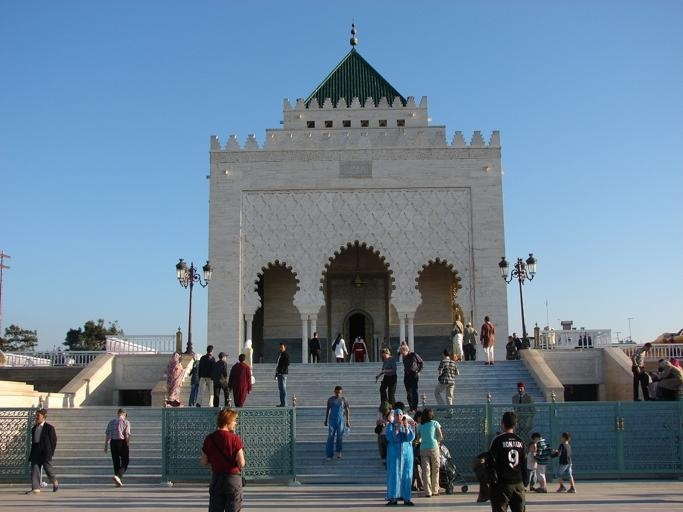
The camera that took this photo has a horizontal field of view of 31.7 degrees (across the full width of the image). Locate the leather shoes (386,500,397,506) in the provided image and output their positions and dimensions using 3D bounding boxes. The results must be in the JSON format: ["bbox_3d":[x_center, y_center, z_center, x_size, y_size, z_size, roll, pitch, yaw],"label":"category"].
[{"bbox_3d":[0.925,4.565,22.193,0.209,0.092,0.074,3,-7,-6],"label":"leather shoes"}]

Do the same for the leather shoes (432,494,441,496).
[{"bbox_3d":[1.835,4.590,23.192,0.178,0.047,0.096,6,-9,-39],"label":"leather shoes"}]

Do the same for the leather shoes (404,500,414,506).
[{"bbox_3d":[1.258,4.554,22.173,0.202,0.080,0.153,4,-8,-28],"label":"leather shoes"}]

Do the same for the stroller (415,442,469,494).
[{"bbox_3d":[2.118,4.156,23.544,1.003,1.324,0.793,-2,-7,-23],"label":"stroller"}]

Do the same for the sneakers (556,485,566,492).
[{"bbox_3d":[4.251,4.522,23.323,0.095,0.125,0.191,6,-13,-16],"label":"sneakers"}]

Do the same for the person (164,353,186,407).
[{"bbox_3d":[-3.787,2.808,27.543,0.335,1.217,0.755,1,-7,-7],"label":"person"}]

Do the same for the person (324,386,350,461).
[{"bbox_3d":[-0.060,3.468,25.099,0.455,1.497,0.591,-2,-7,14],"label":"person"}]

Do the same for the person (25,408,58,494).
[{"bbox_3d":[-5.865,3.859,23.942,0.546,1.628,0.709,2,-7,-15],"label":"person"}]

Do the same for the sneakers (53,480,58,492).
[{"bbox_3d":[-5.603,4.553,23.763,0.070,0.220,0.064,5,10,-9],"label":"sneakers"}]

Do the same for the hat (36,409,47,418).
[{"bbox_3d":[-5.974,3.164,24.177,0.150,0.215,0.205,4,-10,-12],"label":"hat"}]

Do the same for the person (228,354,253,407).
[{"bbox_3d":[-2.216,2.729,26.516,0.502,1.122,0.901,1,-7,-6],"label":"person"}]

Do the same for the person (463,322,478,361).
[{"bbox_3d":[3.545,2.357,33.214,0.325,1.023,0.865,0,-7,2],"label":"person"}]

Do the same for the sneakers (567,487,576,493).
[{"bbox_3d":[4.424,4.510,23.214,0.179,0.135,0.067,0,-8,8],"label":"sneakers"}]

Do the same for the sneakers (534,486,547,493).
[{"bbox_3d":[3.848,4.519,23.305,0.241,0.100,0.169,-1,-7,8],"label":"sneakers"}]

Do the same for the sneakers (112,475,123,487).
[{"bbox_3d":[-4.430,4.536,24.032,0.112,0.318,0.132,-17,35,-12],"label":"sneakers"}]

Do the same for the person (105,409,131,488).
[{"bbox_3d":[-4.505,3.865,24.410,0.483,1.549,0.851,2,-7,-12],"label":"person"}]
